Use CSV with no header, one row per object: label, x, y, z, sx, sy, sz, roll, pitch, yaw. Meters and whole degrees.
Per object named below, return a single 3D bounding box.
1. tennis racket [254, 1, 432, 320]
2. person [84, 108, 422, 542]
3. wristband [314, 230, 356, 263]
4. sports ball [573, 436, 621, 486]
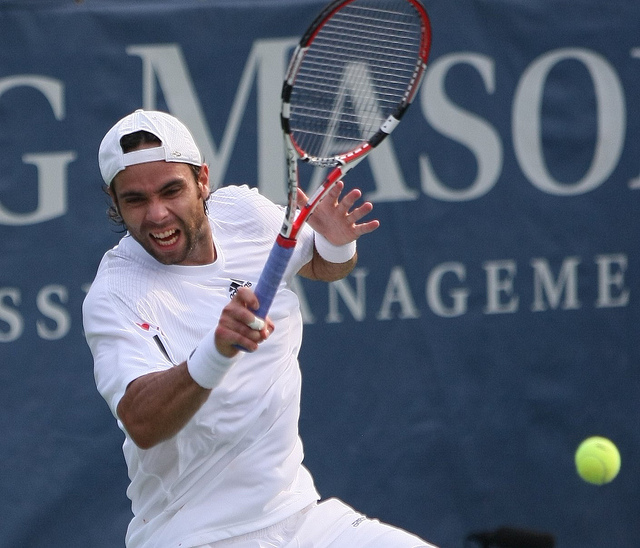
tennis racket,0.088,-0.790,6.909,0.598,2.216,0.153,19,33,-9
person,-0.350,0.643,6.550,1.135,2.527,1.606,-6,51,13
wristband,0.070,-0.117,6.606,0.159,0.122,0.172,12,50,10
sports ball,1.639,1.082,7.681,0.255,0.145,0.234,-9,52,12
